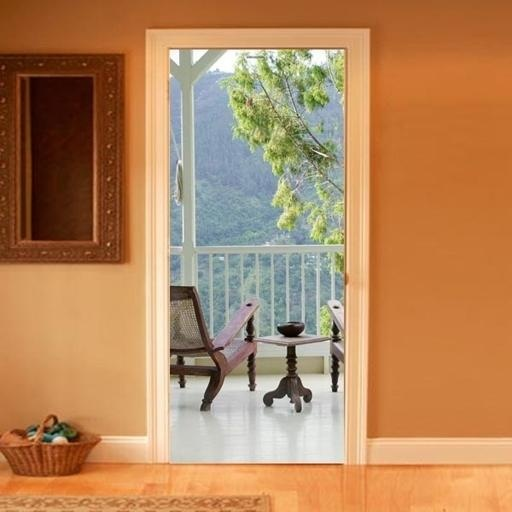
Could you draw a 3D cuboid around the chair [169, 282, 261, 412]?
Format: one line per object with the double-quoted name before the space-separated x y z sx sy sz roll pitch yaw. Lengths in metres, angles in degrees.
"chair" -0.356 0.575 4.422 0.704 0.723 0.883 -1 1 10
